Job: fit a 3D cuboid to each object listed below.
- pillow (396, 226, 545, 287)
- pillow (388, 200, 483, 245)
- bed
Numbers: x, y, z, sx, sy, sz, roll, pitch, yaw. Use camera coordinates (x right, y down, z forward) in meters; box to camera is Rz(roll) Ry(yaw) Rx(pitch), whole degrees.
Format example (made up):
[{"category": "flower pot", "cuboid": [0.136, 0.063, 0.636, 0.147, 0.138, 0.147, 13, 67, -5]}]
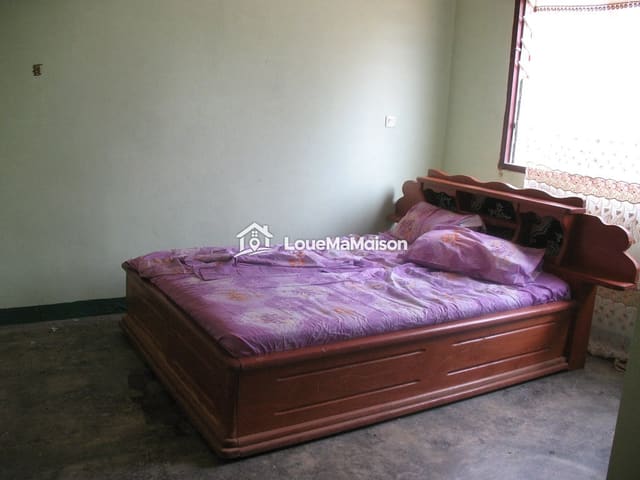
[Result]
[{"category": "pillow", "cuboid": [1.056, 0.103, 3.141, 0.562, 0.168, 0.502, 9, 15, 25]}, {"category": "pillow", "cuboid": [0.900, -0.146, 3.694, 0.373, 0.139, 0.460, -19, 14, -25]}, {"category": "bed", "cuboid": [0.407, 0.377, 2.834, 1.999, 0.856, 2.009, -7, 17, -24]}]
